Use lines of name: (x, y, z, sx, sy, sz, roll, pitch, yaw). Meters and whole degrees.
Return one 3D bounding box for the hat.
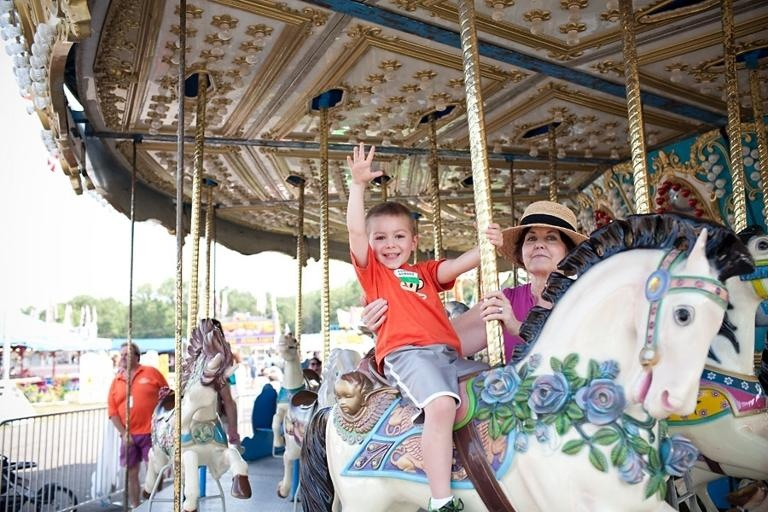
hat: (1.170, -0.202, 5.129, 0.603, 0.307, 0.543, -1, -22, 21)
